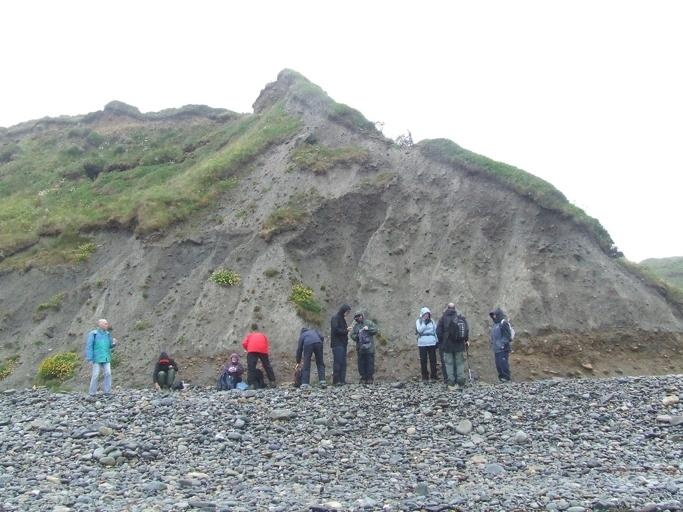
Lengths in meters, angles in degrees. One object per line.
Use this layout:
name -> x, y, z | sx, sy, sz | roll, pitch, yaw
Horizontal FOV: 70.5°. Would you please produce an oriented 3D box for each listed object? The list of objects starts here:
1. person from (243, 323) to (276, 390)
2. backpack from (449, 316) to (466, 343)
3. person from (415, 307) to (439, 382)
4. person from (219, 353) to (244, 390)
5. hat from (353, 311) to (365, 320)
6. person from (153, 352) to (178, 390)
person -> -3.463, 4.189, 19.823 | 1.204, 2.845, 1.046 | 10, -42, -27
backpack -> 4.234, 2.791, 17.808 | 0.636, 0.953, 0.440 | 3, 11, 13
person -> 3.433, 3.676, 19.439 | 0.739, 3.100, 1.189 | -2, 11, -11
person -> -4.507, 4.707, 19.587 | 0.831, 1.266, 1.020 | 3, 11, 13
hat -> 0.665, 2.507, 20.156 | 0.362, 0.465, 0.480 | -2, -13, 6
person -> -7.532, 4.947, 20.637 | 0.969, 1.629, 1.619 | -6, 9, -22
